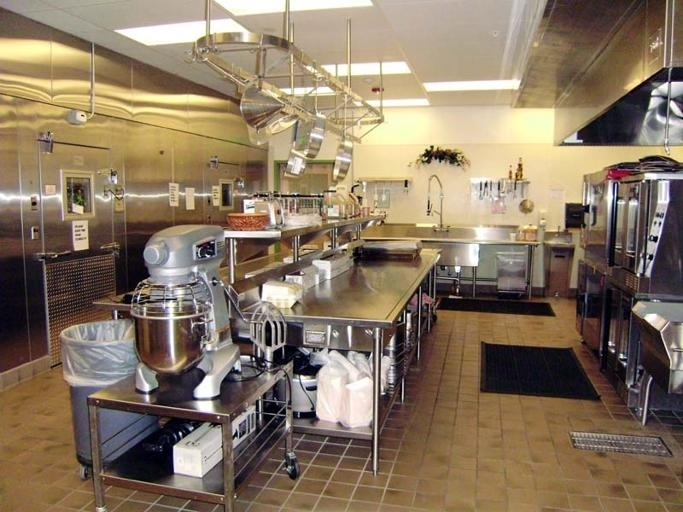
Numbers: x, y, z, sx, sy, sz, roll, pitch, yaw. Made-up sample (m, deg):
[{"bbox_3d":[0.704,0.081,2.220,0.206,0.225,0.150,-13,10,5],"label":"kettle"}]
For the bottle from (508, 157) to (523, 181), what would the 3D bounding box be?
[{"bbox_3d":[2.968,-1.457,8.659,0.259,0.404,0.175,3,12,17],"label":"bottle"}]

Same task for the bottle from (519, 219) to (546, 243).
[{"bbox_3d":[3.171,-0.407,8.458,0.418,0.396,0.404,1,4,7],"label":"bottle"}]

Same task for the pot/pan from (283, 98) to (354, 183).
[{"bbox_3d":[-0.103,-1.071,4.988,0.321,0.859,0.936,3,3,-43],"label":"pot/pan"}]

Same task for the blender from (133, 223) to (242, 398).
[{"bbox_3d":[-0.816,0.306,2.775,0.485,0.905,0.327,-6,13,-27],"label":"blender"}]

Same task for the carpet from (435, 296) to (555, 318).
[{"bbox_3d":[2.344,0.761,7.814,1.636,0.088,1.121,3,11,14],"label":"carpet"}]

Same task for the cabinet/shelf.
[{"bbox_3d":[-0.851,1.035,3.054,0.999,0.717,0.963,2,4,16],"label":"cabinet/shelf"}]

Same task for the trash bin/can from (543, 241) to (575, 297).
[{"bbox_3d":[3.527,0.234,8.343,0.432,0.898,0.231,4,12,19],"label":"trash bin/can"}]

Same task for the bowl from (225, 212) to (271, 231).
[{"bbox_3d":[-0.621,-0.231,3.457,0.284,0.111,0.235,-3,11,-16],"label":"bowl"}]
